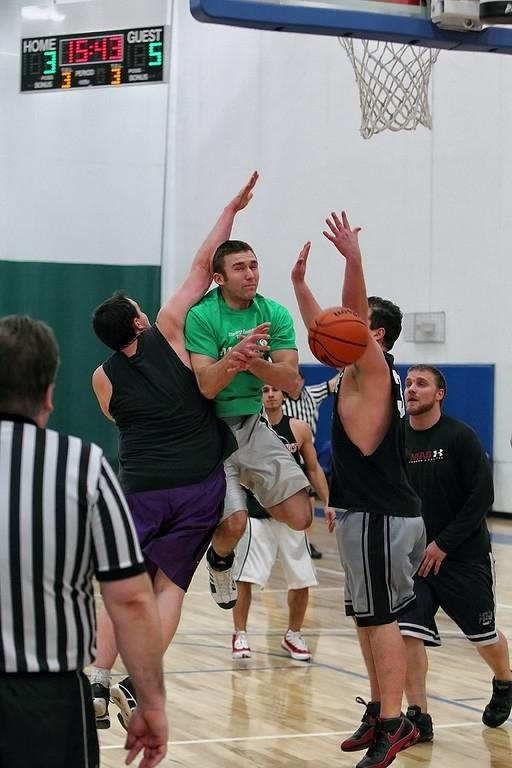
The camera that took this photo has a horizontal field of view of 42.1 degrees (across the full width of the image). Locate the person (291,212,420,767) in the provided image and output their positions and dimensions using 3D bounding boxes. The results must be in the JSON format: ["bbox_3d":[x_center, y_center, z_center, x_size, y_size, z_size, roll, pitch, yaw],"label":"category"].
[{"bbox_3d":[0.422,0.390,2.635,0.495,2.230,0.772,0,-7,6],"label":"person"}]

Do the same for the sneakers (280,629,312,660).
[{"bbox_3d":[0.253,1.646,4.225,0.089,0.105,0.245,12,-1,-27],"label":"sneakers"}]

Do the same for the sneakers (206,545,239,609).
[{"bbox_3d":[-0.137,0.954,3.212,0.124,0.376,0.148,-8,21,-1],"label":"sneakers"}]

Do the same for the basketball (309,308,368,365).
[{"bbox_3d":[0.302,-0.145,2.373,0.192,0.197,0.204,-7,-12,39],"label":"basketball"}]
